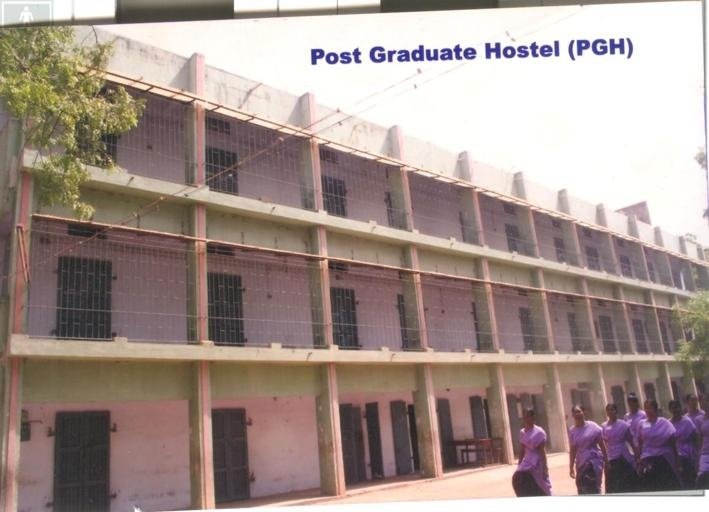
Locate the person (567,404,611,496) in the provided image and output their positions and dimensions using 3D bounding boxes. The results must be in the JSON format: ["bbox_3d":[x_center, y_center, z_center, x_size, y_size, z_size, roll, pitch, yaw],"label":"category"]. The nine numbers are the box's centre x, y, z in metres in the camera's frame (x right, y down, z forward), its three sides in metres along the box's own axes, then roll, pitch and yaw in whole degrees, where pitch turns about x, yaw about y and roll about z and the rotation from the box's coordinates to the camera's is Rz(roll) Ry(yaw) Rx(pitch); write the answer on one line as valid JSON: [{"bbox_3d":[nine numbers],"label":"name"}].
[{"bbox_3d":[4.658,3.922,12.322,0.773,1.709,1.008,-12,-20,18],"label":"person"}]

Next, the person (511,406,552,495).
[{"bbox_3d":[3.472,3.924,12.242,0.755,1.672,0.846,-9,-19,12],"label":"person"}]

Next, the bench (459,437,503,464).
[{"bbox_3d":[3.975,6.240,19.452,1.086,0.712,1.483,1,-6,-35],"label":"bench"}]
